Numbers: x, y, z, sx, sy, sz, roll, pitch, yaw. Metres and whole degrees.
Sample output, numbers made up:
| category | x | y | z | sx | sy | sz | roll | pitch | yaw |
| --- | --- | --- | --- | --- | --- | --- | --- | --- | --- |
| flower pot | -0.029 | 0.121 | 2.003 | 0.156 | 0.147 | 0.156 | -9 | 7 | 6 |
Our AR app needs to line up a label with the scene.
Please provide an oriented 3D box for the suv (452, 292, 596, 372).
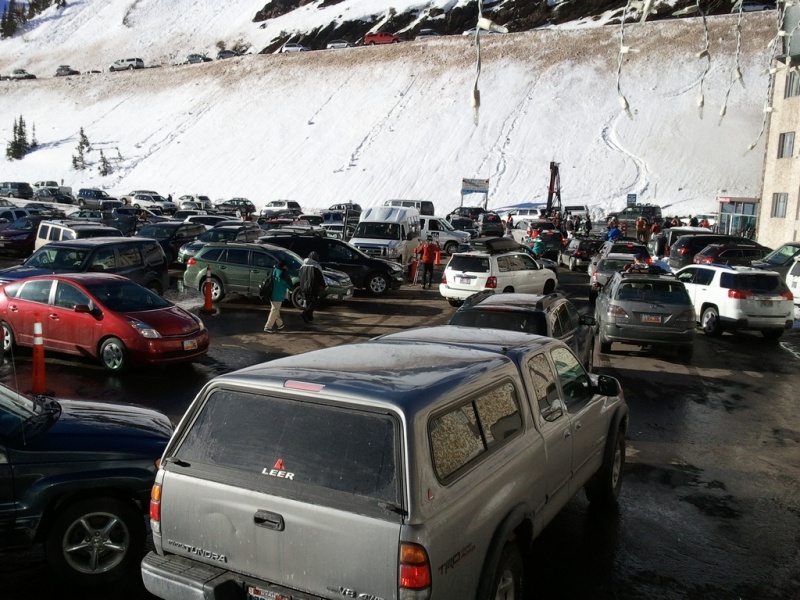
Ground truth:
| category | x | y | z | sx | sy | sz | roll | pitch | yaw |
| --- | --- | --- | --- | --- | --- | --- | --- | --- | --- |
| suv | 2.231 | 0.583 | 10.778 | 1.424 | 1.007 | 2.358 | 3 | 13 | 23 |

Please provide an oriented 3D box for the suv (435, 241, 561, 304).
| category | x | y | z | sx | sy | sz | roll | pitch | yaw |
| --- | --- | --- | --- | --- | --- | --- | --- | --- | --- |
| suv | 3.276 | -0.954 | 20.152 | 1.745 | 1.210 | 3.292 | 9 | 16 | 42 |

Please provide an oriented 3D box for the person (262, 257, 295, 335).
| category | x | y | z | sx | sy | sz | roll | pitch | yaw |
| --- | --- | --- | --- | --- | --- | --- | --- | --- | --- |
| person | -3.181 | -0.102 | 16.227 | 0.596 | 1.742 | 1.014 | 1 | 10 | -7 |

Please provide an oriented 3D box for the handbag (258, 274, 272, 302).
| category | x | y | z | sx | sy | sz | roll | pitch | yaw |
| --- | --- | --- | --- | --- | --- | --- | --- | --- | --- |
| handbag | -3.691 | -0.343 | 17.234 | 0.361 | 0.666 | 0.653 | 12 | 15 | -1 |

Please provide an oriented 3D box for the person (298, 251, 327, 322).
| category | x | y | z | sx | sy | sz | roll | pitch | yaw |
| --- | --- | --- | --- | --- | --- | --- | --- | --- | --- |
| person | -2.437 | -0.239 | 17.413 | 0.643 | 1.729 | 0.987 | 2 | 10 | 0 |
